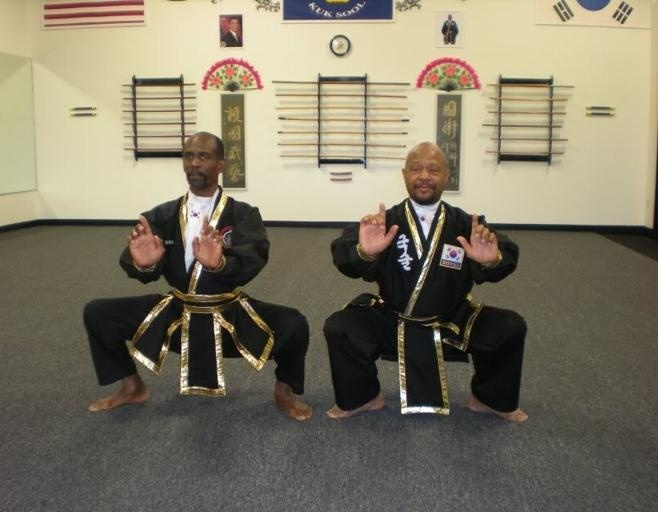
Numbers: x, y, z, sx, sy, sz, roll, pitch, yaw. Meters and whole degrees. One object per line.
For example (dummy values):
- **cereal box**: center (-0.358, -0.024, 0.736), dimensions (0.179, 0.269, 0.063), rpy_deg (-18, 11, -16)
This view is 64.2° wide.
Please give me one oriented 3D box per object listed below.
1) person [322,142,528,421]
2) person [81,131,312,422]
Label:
- **person**: center (0.444, 0.120, 2.446), dimensions (0.831, 1.280, 0.702), rpy_deg (1, 4, 9)
- **person**: center (-0.617, 0.087, 2.409), dimensions (0.960, 1.339, 0.702), rpy_deg (1, 2, 1)
